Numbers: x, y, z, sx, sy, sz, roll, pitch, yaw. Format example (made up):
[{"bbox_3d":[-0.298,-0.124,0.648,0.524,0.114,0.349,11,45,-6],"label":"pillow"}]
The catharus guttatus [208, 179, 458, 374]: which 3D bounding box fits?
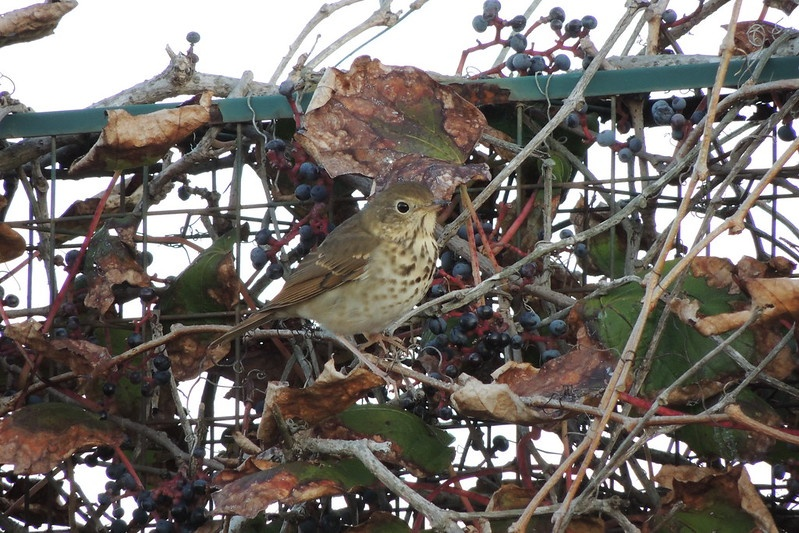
[{"bbox_3d":[-0.317,0.022,9.190,1.432,0.830,0.585,1,8,38],"label":"catharus guttatus"}]
